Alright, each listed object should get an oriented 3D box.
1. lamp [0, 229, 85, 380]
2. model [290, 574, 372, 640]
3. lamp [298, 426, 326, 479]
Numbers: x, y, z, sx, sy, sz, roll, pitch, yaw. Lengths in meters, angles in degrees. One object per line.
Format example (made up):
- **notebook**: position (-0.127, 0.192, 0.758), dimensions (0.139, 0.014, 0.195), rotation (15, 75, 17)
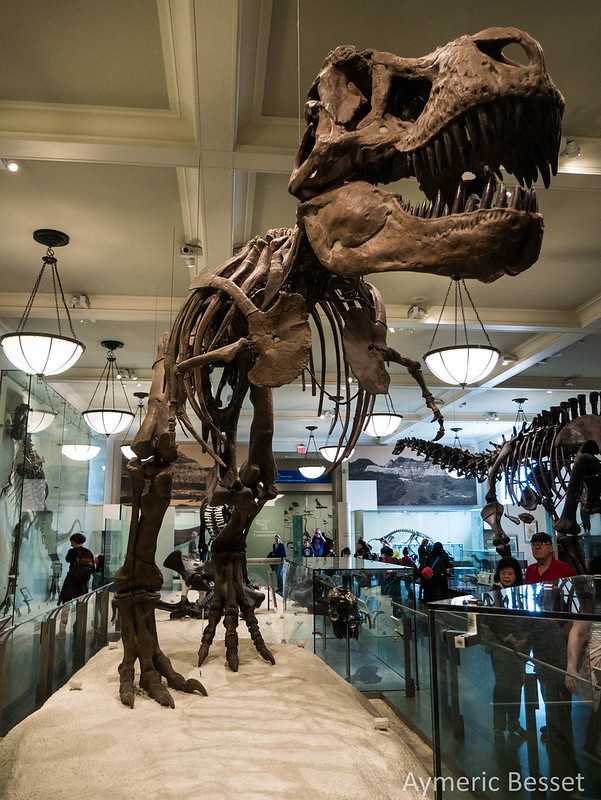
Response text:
- **lamp**: position (-2.862, -0.814, 6.164), dimensions (0.777, 1.449, 1.982), rotation (5, -13, -23)
- **model**: position (0.198, 1.538, 4.125), dimensions (0.152, 0.383, 0.767), rotation (3, 1, -36)
- **lamp**: position (0.424, 1.543, 17.510), dimensions (0.610, 1.258, 0.587), rotation (-11, 21, 1)
